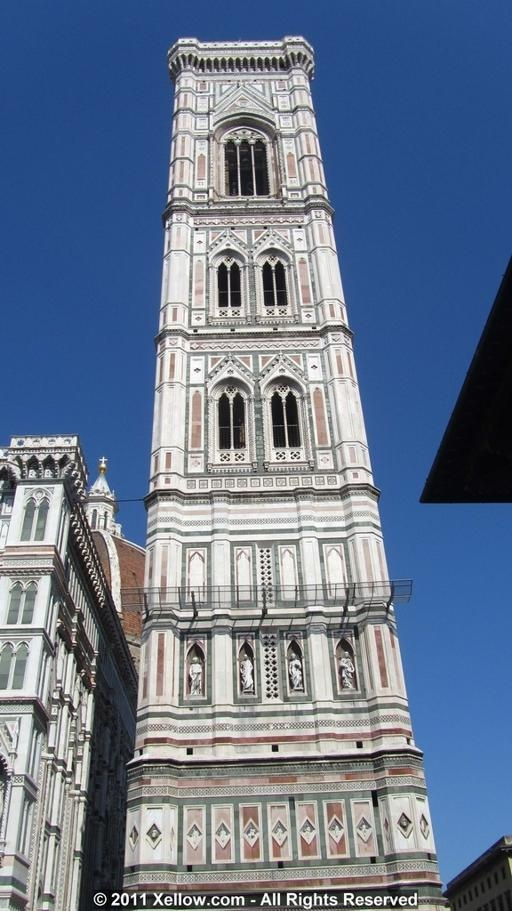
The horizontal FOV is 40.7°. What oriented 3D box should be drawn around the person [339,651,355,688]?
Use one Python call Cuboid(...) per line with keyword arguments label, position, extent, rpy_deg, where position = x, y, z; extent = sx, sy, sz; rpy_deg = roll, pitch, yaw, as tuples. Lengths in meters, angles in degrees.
Cuboid(label="person", position=(2.215, 5.289, 16.887), extent=(0.390, 0.933, 0.114), rpy_deg=(-6, -43, 3))
